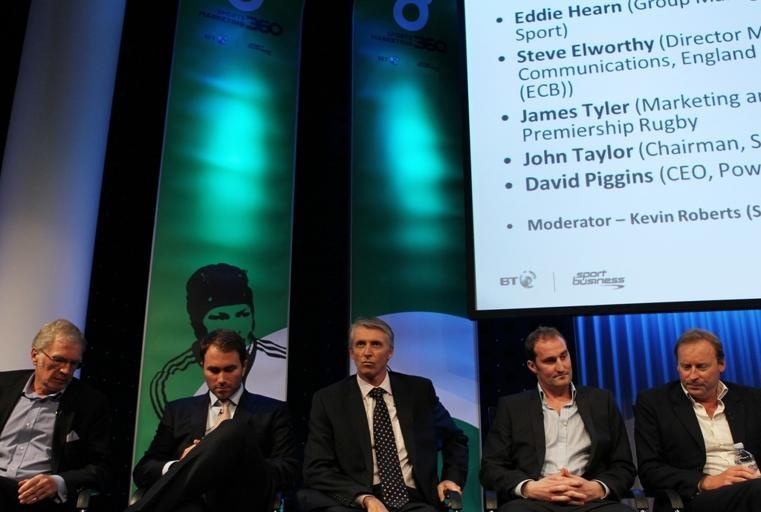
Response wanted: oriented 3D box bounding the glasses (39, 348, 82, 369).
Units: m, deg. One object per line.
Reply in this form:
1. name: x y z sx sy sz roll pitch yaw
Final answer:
1. glasses: -1.911 0.628 3.407 0.220 0.118 0.108 6 -11 -36

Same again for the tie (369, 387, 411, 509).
1. tie: 0.050 1.132 3.366 0.188 0.663 0.263 1 -9 -11

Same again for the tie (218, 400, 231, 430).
1. tie: -0.909 0.942 3.329 0.050 0.069 0.202 16 25 -9
